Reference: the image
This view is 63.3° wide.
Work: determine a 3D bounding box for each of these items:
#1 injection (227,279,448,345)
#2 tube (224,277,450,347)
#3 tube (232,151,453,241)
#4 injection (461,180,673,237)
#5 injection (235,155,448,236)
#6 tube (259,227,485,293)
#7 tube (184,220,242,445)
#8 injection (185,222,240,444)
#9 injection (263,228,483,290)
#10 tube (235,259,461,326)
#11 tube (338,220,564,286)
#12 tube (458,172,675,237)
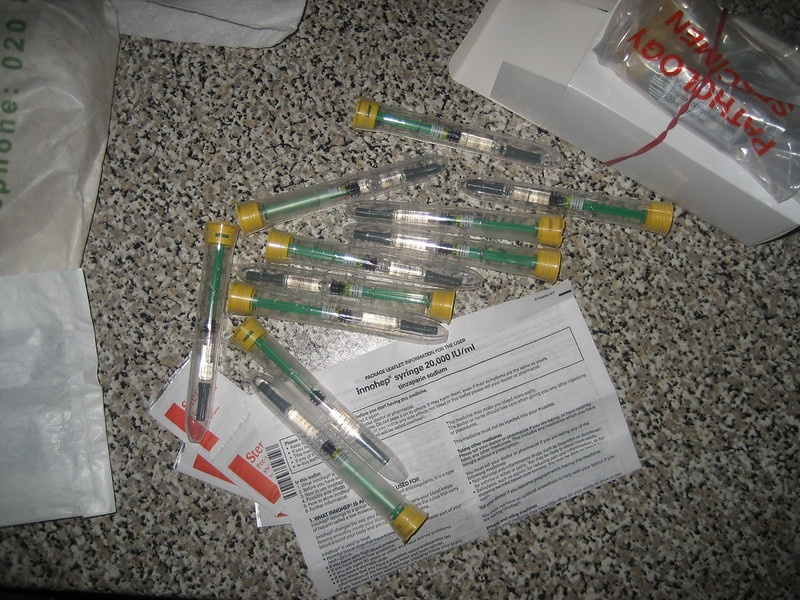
[{"bbox_3d":[-0.120,0.025,1.153,0.259,0.046,0.054,14,85,-4],"label":"injection"},{"bbox_3d":[-0.121,0.026,1.153,0.269,0.048,0.056,15,92,-3],"label":"tube"},{"bbox_3d":[-0.105,-0.188,1.158,0.296,0.059,0.065,-18,83,-2],"label":"tube"},{"bbox_3d":[0.307,-0.163,1.156,0.230,0.050,0.059,10,100,2],"label":"injection"},{"bbox_3d":[-0.107,-0.189,1.158,0.276,0.053,0.063,-18,83,-2],"label":"injection"},{"bbox_3d":[-0.049,-0.074,1.161,0.245,0.047,0.052,13,74,-7],"label":"tube"},{"bbox_3d":[-0.327,0.069,1.150,0.068,0.069,0.471,6,84,-30],"label":"tube"},{"bbox_3d":[-0.325,0.054,1.153,0.068,0.071,0.470,6,84,-31],"label":"injection"},{"bbox_3d":[-0.047,-0.076,1.161,0.204,0.042,0.042,14,49,-4],"label":"injection"},{"bbox_3d":[-0.097,-0.010,1.156,0.233,0.058,0.047,13,83,3],"label":"tube"},{"bbox_3d":[0.101,-0.088,1.159,0.235,0.051,0.053,13,105,7],"label":"tube"},{"bbox_3d":[0.304,-0.170,1.156,0.265,0.058,0.066,10,99,2],"label":"tube"}]
